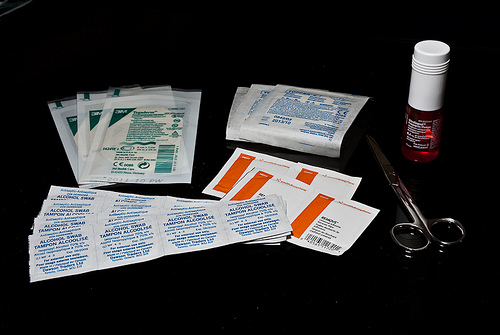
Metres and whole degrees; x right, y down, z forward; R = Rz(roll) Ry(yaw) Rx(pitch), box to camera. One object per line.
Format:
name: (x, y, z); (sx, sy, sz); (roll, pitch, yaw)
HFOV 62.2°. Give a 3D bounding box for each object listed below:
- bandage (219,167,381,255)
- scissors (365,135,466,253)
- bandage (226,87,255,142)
bandage: (0.098, 0.088, 0.899); (0.308, 0.014, 0.168); (22, 52, 26)
scissors: (0.341, 0.053, 0.864); (0.172, 0.147, 0.214); (6, 36, 4)
bandage: (-0.024, -0.141, 1.114); (0.075, 0.023, 0.135); (3, 59, 22)
